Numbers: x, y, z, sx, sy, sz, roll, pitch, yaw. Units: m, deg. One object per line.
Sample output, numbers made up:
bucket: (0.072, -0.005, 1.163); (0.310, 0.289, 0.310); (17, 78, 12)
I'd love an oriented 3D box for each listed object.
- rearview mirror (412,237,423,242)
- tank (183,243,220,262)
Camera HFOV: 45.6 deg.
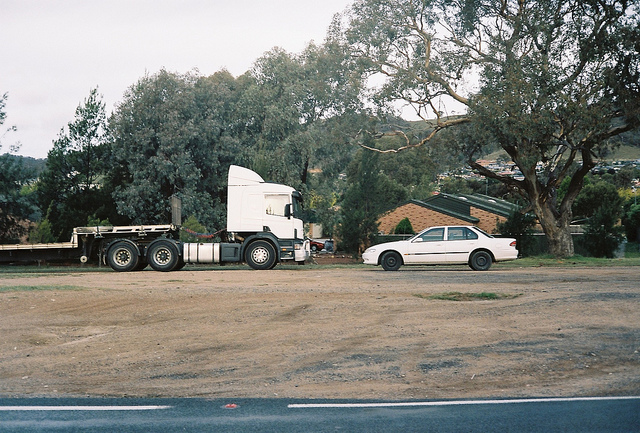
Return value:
rearview mirror: (4.582, 1.064, 35.494); (0.375, 0.193, 0.100); (1, 10, 8)
tank: (-5.579, 1.756, 36.267); (1.346, 0.802, 0.909); (1, 2, -3)
